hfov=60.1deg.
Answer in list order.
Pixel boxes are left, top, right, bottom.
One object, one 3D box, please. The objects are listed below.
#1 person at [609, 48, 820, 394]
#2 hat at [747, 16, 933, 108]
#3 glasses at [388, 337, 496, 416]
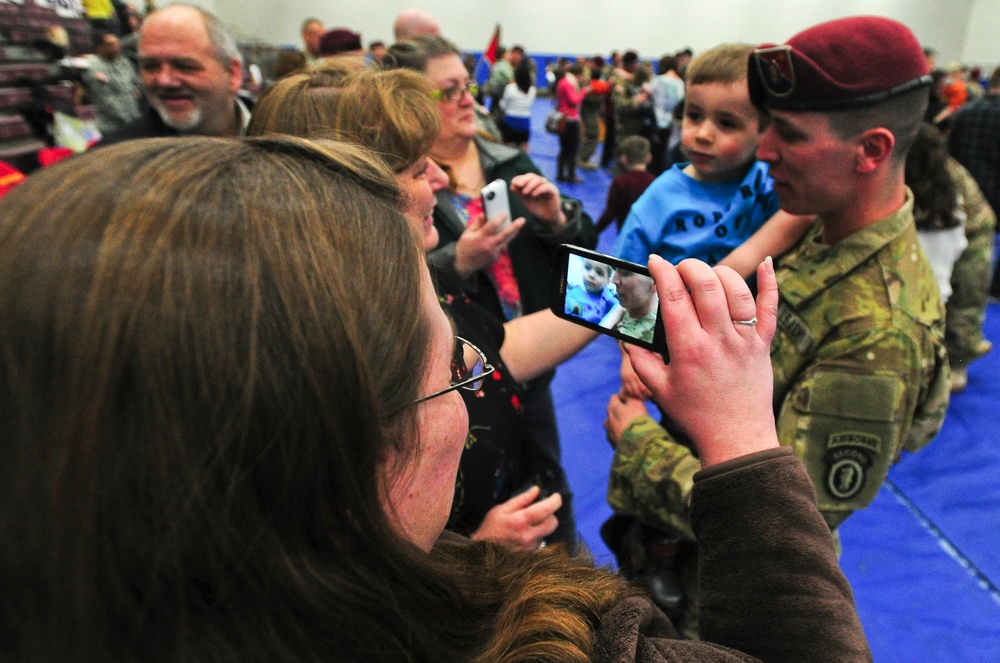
[{"bbox_3d":[0.795,-0.311,3.428,0.764,1.458,0.553,1,1,-6],"label":"person"},{"bbox_3d":[0.994,-0.780,2.536,0.399,0.177,0.297,4,24,22],"label":"hat"},{"bbox_3d":[-0.130,0.113,2.219,0.179,0.051,0.174,-16,16,12],"label":"glasses"}]
